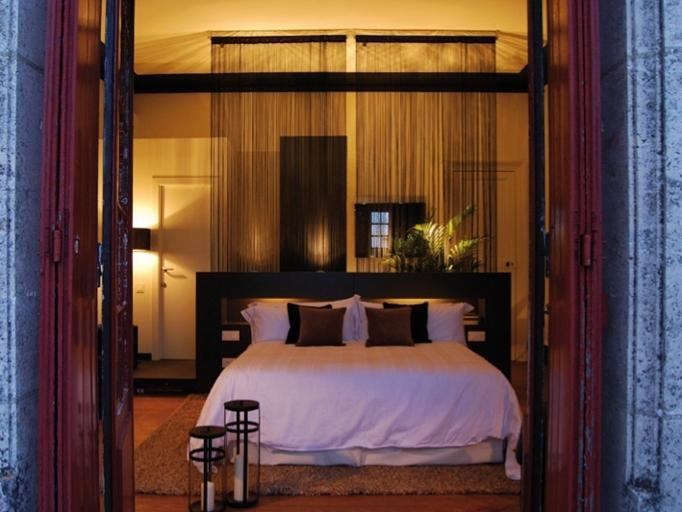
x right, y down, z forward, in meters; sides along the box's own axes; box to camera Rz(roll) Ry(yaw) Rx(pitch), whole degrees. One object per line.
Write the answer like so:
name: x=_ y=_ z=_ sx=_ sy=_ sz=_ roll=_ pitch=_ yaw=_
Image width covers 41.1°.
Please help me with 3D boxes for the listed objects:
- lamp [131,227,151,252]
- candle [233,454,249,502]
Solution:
lamp: x=-1.829 y=-0.145 z=8.305 sx=0.235 sy=0.285 sz=0.256 roll=0 pitch=1 yaw=-7
candle: x=-0.617 y=1.346 z=5.559 sx=0.068 sy=0.294 sz=0.054 roll=-1 pitch=-3 yaw=-6
